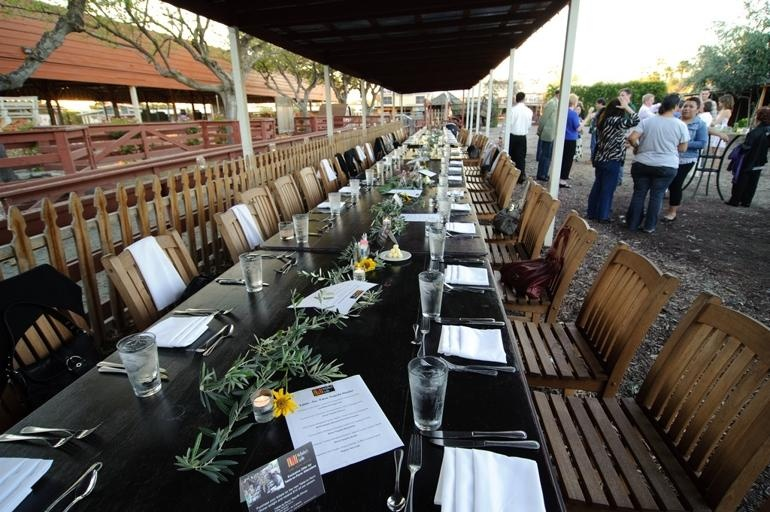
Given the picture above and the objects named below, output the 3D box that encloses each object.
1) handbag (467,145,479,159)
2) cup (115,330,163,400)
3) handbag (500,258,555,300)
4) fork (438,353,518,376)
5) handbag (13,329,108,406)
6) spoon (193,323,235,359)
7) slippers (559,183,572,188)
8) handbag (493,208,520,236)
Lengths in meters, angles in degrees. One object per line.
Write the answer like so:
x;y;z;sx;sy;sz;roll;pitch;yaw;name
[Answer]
2.043;-2.406;9.222;0.142;0.375;0.272;3;-4;-27;handbag
-1.118;0.480;1.807;0.136;0.268;0.227;-14;28;-35;cup
1.053;0.160;2.923;0.315;0.132;0.293;-17;48;7;handbag
0.437;0.516;1.860;0.433;0.063;0.062;5;26;7;fork
-1.793;0.614;2.149;0.152;0.325;0.337;-27;17;24;handbag
-0.871;0.434;2.025;0.071;0.033;0.229;16;25;6;spoon
3.562;-1.369;7.867;0.086;0.092;0.234;-30;36;-31;slippers
1.228;-0.324;3.993;0.146;0.254;0.231;8;15;-31;handbag
